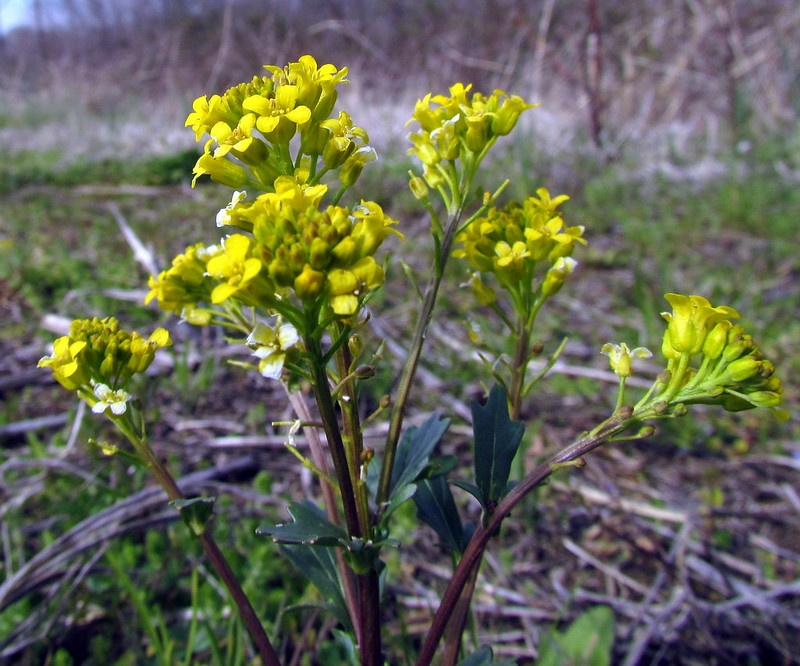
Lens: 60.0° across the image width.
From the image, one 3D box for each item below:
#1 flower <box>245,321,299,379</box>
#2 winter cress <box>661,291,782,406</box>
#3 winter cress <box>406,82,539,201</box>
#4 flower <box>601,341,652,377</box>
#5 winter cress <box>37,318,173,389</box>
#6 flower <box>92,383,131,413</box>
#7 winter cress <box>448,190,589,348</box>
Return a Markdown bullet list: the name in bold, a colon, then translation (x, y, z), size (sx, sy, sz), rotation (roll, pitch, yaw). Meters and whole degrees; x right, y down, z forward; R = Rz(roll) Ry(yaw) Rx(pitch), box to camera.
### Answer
- **flower**: translation (-0.399, 0.060, 2.214), size (0.166, 0.166, 0.062), rotation (-40, -9, 11)
- **winter cress**: translation (0.987, 0.082, 2.342), size (0.456, 0.264, 0.280), rotation (6, 51, 49)
- **winter cress**: translation (0.208, -0.662, 2.557), size (0.434, 0.442, 0.441), rotation (17, 36, 20)
- **flower**: translation (0.790, 0.085, 2.420), size (0.159, 0.166, 0.097), rotation (7, 61, 27)
- **winter cress**: translation (-1.038, 0.132, 2.463), size (0.310, 0.215, 0.304), rotation (-32, 38, -33)
- **flower**: translation (-0.973, 0.229, 2.344), size (0.105, 0.033, 0.109), rotation (4, 32, -2)
- **winter cress**: translation (0.413, -0.255, 2.464), size (0.435, 0.488, 0.267), rotation (1, 19, 2)
